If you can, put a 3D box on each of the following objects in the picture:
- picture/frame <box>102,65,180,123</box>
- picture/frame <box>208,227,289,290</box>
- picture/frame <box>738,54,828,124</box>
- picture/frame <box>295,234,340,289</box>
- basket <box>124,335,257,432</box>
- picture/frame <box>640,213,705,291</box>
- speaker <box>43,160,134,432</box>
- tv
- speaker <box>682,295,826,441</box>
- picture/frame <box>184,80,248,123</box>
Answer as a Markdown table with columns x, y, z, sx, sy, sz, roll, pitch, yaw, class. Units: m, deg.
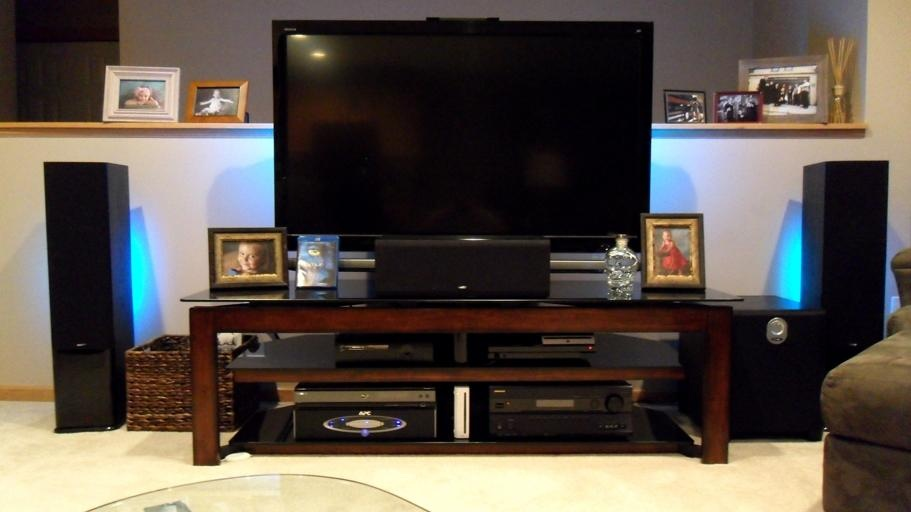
| x | y | z | sx | sy | sz | roll | pitch | yaw | class |
| --- | --- | --- | --- | --- | --- | --- | --- | --- | --- |
| -2.095 | -1.081 | 5.423 | 0.480 | 0.322 | 0.034 | 0 | -3 | -4 | picture/frame |
| -1.294 | 0.016 | 5.032 | 0.472 | 0.330 | 0.031 | -1 | -7 | -6 | picture/frame |
| 2.213 | -1.112 | 5.461 | 0.580 | 0.402 | 0.041 | 1 | 6 | 12 | picture/frame |
| -0.866 | 0.034 | 5.089 | 0.412 | 0.432 | 0.050 | 0 | -4 | 1 | picture/frame |
| -1.793 | 0.768 | 5.386 | 0.709 | 0.372 | 0.643 | 1 | 7 | 5 | basket |
| 1.336 | -0.017 | 5.026 | 0.576 | 0.614 | 0.071 | 1 | -4 | -4 | picture/frame |
| -2.342 | 0.247 | 5.226 | 0.472 | 1.696 | 0.379 | -2 | 9 | -12 | speaker |
| 0.022 | -0.750 | 5.138 | 1.985 | 0.985 | 0.135 | 0 | 6 | 1 | tv |
| 1.774 | 0.714 | 5.474 | 1.006 | 0.854 | 0.924 | -1 | 2 | 3 | speaker |
| -1.612 | -1.049 | 5.484 | 0.455 | 0.277 | 0.024 | 3 | -3 | 20 | picture/frame |
